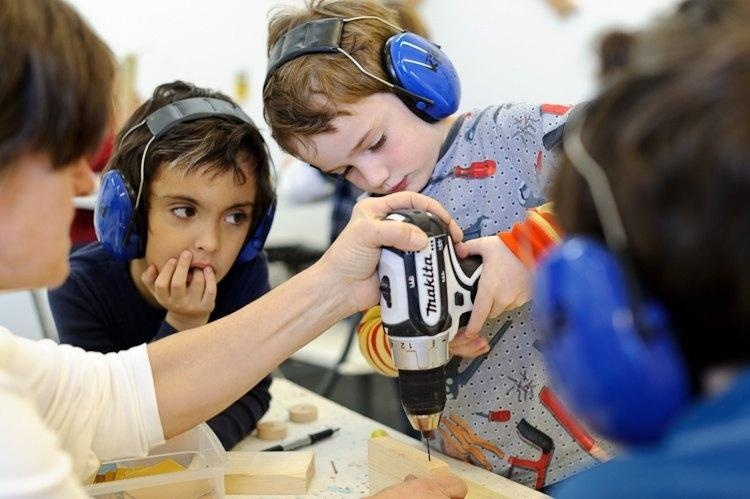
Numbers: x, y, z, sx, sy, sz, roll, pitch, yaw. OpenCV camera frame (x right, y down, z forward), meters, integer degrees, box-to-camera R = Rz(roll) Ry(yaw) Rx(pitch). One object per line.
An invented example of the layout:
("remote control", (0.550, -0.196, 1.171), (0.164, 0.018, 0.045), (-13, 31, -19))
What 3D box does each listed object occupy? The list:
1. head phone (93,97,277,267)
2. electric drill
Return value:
("head phone", (-0.398, -0.157, 1.603), (0.403, 0.401, 0.167), (3, 35, -37))
("electric drill", (0.044, 0.145, 1.282), (0.261, 0.378, 0.226), (2, 13, -9))
